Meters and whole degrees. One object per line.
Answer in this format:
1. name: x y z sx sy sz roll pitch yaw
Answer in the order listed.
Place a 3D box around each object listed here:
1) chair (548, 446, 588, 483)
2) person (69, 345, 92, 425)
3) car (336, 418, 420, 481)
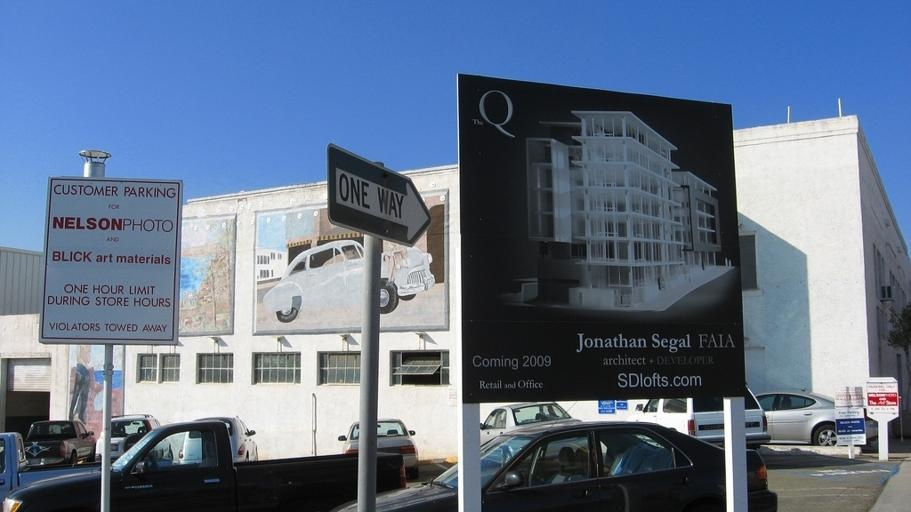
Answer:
1. chair: 2.503 4.607 18.703 0.639 0.828 0.744 -1 -7 10
2. person: -18.071 6.166 40.549 1.157 3.488 0.462 -2 -6 28
3. car: -2.528 7.173 29.976 2.709 1.631 5.270 0 -6 -10
